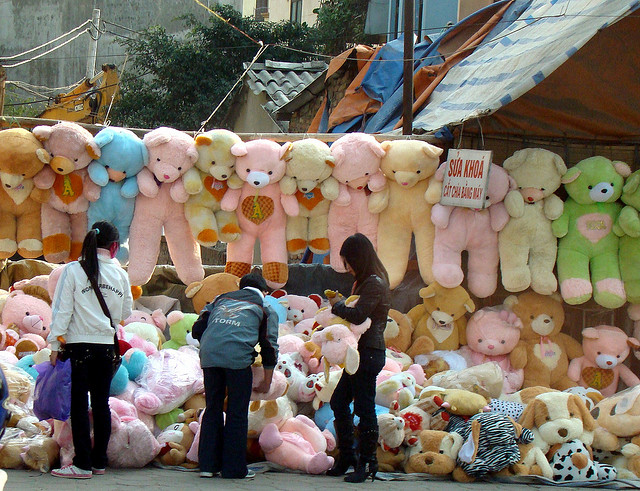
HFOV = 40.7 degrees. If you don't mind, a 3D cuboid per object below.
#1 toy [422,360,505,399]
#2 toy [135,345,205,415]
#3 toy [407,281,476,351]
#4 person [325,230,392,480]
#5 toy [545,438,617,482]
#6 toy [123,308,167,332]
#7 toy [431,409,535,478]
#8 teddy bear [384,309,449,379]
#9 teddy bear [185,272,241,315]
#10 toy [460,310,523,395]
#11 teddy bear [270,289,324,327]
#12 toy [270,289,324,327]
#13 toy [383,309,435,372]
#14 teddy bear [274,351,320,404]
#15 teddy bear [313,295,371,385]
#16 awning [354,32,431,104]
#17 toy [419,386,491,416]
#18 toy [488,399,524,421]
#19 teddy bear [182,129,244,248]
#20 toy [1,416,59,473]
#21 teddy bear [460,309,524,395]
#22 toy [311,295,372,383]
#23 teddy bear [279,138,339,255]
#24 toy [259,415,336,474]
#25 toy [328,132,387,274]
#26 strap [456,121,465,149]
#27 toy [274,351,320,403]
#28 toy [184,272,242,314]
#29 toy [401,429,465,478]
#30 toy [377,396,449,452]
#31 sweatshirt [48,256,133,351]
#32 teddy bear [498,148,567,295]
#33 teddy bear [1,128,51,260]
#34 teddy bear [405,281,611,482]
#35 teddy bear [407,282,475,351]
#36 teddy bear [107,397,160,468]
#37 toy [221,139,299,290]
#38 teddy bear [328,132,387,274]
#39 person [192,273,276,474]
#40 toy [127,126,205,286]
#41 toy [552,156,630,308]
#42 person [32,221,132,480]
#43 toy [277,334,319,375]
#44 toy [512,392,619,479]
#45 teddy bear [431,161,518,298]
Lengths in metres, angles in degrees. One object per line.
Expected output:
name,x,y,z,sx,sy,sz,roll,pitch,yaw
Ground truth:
toy,1.404,1.238,8.065,0.533,0.263,0.367,-6,0,5
toy,-1.355,1.185,7.751,0.487,0.274,0.667,14,35,12
toy,1.260,0.776,9.190,0.713,0.902,0.491,9,32,-3
person,0.340,0.920,7.353,0.453,1.730,0.798,4,-2,4
toy,2.195,1.801,7.270,0.563,0.266,0.228,6,-2,-8
toy,-1.835,0.769,9.204,0.285,0.322,0.284,0,-7,-9
toy,1.425,1.675,7.289,0.739,0.433,0.424,5,-2,11
teddy bear,1.014,1.078,9.090,0.581,0.849,0.799,-2,-1,5
teddy bear,-1.023,0.446,8.344,0.327,0.363,0.189,7,-17,-1
toy,1.784,1.060,9.050,0.642,0.981,0.621,6,21,16
teddy bear,-0.229,0.723,9.798,0.488,0.517,0.337,6,-17,-9
toy,-0.212,0.819,9.781,0.511,0.505,0.351,3,-11,-10
toy,0.852,0.979,8.980,0.487,0.687,0.578,-4,-8,36
teddy bear,-0.202,1.181,8.026,0.361,0.505,0.208,3,-36,-38
teddy bear,0.193,0.797,7.179,0.538,0.827,0.306,-17,-29,40
awning,0.967,-2.572,12.294,0.599,1.442,0.209,16,-31,18
toy,1.221,1.351,7.578,0.357,0.146,0.308,8,8,15
toy,1.645,1.441,7.646,0.209,0.089,0.168,6,21,-4
teddy bear,-1.053,-0.582,8.549,0.597,1.123,0.714,22,21,41
toy,-2.374,1.638,7.162,0.516,0.443,0.436,5,-2,7
teddy bear,1.774,1.091,9.075,0.675,1.017,0.625,8,19,22
toy,0.179,0.741,7.087,0.231,0.710,0.409,3,2,-34
teddy bear,-0.132,-0.491,8.712,0.565,1.243,0.565,-1,18,-7
toy,-0.221,1.658,7.352,0.501,0.414,0.216,22,-40,-8
toy,0.346,-0.474,8.798,0.595,1.479,0.497,-6,27,-9
strap,1.491,-1.193,9.209,0.054,0.060,0.331,-18,-22,-15
toy,-0.226,1.221,8.037,0.312,0.444,0.182,0,-31,-35
toy,-1.074,0.488,9.162,0.628,0.397,0.675,-3,15,12
toy,0.985,1.820,7.487,0.450,0.531,0.595,2,0,-8
toy,0.790,1.560,7.559,0.611,0.277,0.465,-14,45,-7
sweatshirt,-1.836,0.423,7.046,0.685,0.860,0.440,-2,23,-43
teddy bear,2.122,-0.256,8.710,0.601,1.111,0.209,5,-2,-10
teddy bear,-2.838,-0.505,8.274,0.476,1.279,0.501,5,-2,-17
teddy bear,1.581,1.371,8.134,0.964,0.991,2.250,16,19,-50
teddy bear,1.272,0.778,9.202,0.715,0.877,0.471,11,32,1
teddy bear,-1.563,1.580,7.264,0.439,0.546,0.364,5,-2,-15
toy,-0.601,-0.311,8.670,0.718,1.625,0.452,4,26,-6
teddy bear,0.344,-0.469,8.794,0.617,1.506,0.510,-6,25,-12
person,-0.710,1.031,7.049,0.658,1.485,0.333,5,-2,-10
toy,-1.511,-0.381,8.578,0.738,1.767,0.505,-6,28,-25
toy,2.772,-0.174,8.772,0.755,1.404,1.132,4,38,13
person,-1.887,0.803,6.927,0.676,2.031,0.384,5,-2,-19
toy,-0.200,1.038,8.555,0.496,0.270,0.547,-22,1,1
toy,2.041,1.644,7.470,0.906,0.700,0.624,-6,-13,8
teddy bear,1.775,-0.433,9.321,0.940,0.581,1.616,-10,13,18
